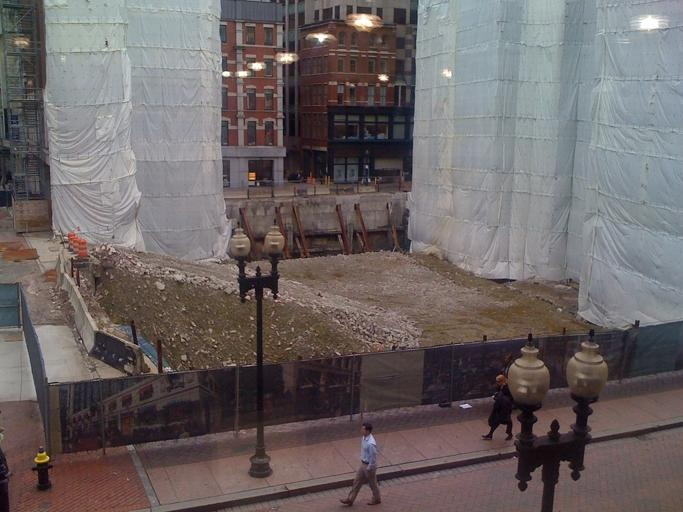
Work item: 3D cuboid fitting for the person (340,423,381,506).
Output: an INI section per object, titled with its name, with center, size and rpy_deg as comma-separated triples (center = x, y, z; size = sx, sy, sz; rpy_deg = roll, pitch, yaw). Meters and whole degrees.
[person]
center = 0.511, 4.809, 14.883
size = 0.817, 2.161, 1.411
rpy_deg = -1, 13, 3

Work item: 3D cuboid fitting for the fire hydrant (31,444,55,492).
[fire hydrant]
center = -6.991, 4.864, 14.699
size = 0.413, 1.079, 0.611
rpy_deg = -9, 15, -29

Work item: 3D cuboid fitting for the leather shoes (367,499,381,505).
[leather shoes]
center = 0.767, 5.700, 14.589
size = 0.288, 0.139, 0.122
rpy_deg = 0, 3, -1
